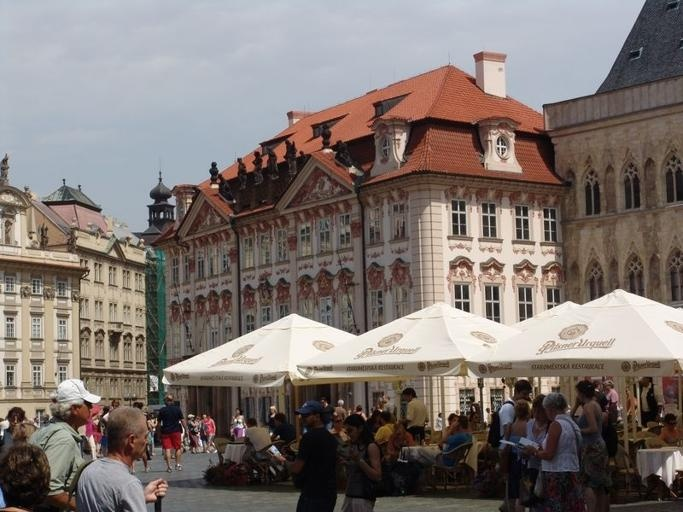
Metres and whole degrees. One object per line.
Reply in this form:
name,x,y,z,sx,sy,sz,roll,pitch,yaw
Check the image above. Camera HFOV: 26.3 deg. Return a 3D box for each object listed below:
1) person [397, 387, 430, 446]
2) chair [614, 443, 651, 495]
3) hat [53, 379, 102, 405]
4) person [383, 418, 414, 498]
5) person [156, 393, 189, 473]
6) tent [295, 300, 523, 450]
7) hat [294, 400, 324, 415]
person,1.528,3.528,31.651,0.581,1.409,0.497,-12,-5,6
chair,5.603,4.221,28.754,0.539,0.705,0.519,0,4,38
hat,-3.615,1.895,19.996,0.522,0.276,0.336,-1,1,-17
person,1.109,4.239,29.902,0.557,1.383,0.780,-5,-1,-3
person,-4.451,4.658,38.347,0.619,1.985,0.562,-1,3,-2
tent,1.950,2.402,31.526,2.893,2.328,2.572,-14,-8,34
hat,-0.454,2.311,21.848,0.379,0.197,0.263,5,-11,-12
